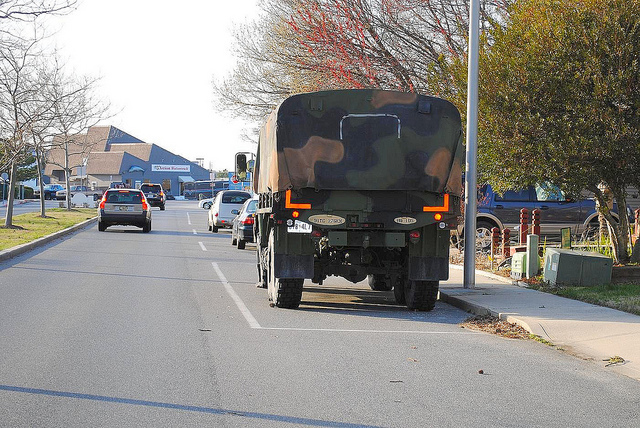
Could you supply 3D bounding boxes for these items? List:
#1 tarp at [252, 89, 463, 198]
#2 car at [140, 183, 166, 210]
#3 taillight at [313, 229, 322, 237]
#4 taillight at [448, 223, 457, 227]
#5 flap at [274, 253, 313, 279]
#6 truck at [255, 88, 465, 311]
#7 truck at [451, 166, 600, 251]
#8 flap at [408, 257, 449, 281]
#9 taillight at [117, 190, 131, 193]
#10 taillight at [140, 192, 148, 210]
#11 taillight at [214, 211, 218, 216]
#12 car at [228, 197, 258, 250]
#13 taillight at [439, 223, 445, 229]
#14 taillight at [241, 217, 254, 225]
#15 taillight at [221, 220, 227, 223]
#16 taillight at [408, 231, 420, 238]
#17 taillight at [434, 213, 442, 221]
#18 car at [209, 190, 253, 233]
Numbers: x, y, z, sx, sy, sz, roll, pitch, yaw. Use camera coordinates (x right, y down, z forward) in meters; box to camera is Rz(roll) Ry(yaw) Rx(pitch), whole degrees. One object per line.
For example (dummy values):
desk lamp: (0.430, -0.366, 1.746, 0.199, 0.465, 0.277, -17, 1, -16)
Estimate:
tarp: (1.247, -1.974, 12.380, 4.602, 2.136, 4.760, -3, 19, -7)
car: (-17.824, -2.169, 59.952, 1.563, 1.603, 3.419, 1, 10, -5)
taillight: (-0.078, 0.360, 10.664, 0.125, 0.124, 0.120, 0, 4, -10)
taillight: (2.621, 0.208, 10.983, 0.251, 0.072, 0.072, 4, -2, -44)
flap: (-0.534, 0.980, 10.668, 0.695, 0.487, 0.169, 2, 0, -1)
truck: (0.504, -0.287, 14.002, 3.679, 4.537, 7.217, 2, 1, -6)
truck: (8.565, -0.633, 20.984, 5.740, 3.200, 3.099, -3, 22, 33)
flap: (2.146, 1.080, 10.933, 0.526, 0.365, 0.555, 0, -7, 5)
taillight: (-9.872, -1.144, 27.721, 0.589, 0.128, 0.289, 2, -1, 17)
taillight: (-8.985, -0.585, 28.124, 0.165, 0.674, 0.386, 2, 3, 35)
taillight: (-5.635, -0.045, 29.739, 0.183, 0.205, 0.340, 0, -6, -11)
car: (-3.117, 0.300, 22.814, 1.192, 1.226, 2.735, 0, 8, -9)
taillight: (2.390, 0.224, 10.887, 0.099, 0.109, 0.025, 1, 1, -2)
taillight: (-2.847, 0.261, 21.602, 0.337, 0.279, 0.580, 1, -2, -10)
taillight: (-5.157, 0.379, 29.610, 0.271, 0.122, 0.087, 3, -1, -18)
taillight: (1.847, 0.398, 10.878, 0.190, 0.148, 0.103, 0, -5, -4)
taillight: (2.284, 0.048, 10.802, 0.118, 0.130, 0.075, 2, -2, 1)
car: (-4.998, -0.278, 29.341, 1.365, 1.474, 2.928, -1, 7, -7)
